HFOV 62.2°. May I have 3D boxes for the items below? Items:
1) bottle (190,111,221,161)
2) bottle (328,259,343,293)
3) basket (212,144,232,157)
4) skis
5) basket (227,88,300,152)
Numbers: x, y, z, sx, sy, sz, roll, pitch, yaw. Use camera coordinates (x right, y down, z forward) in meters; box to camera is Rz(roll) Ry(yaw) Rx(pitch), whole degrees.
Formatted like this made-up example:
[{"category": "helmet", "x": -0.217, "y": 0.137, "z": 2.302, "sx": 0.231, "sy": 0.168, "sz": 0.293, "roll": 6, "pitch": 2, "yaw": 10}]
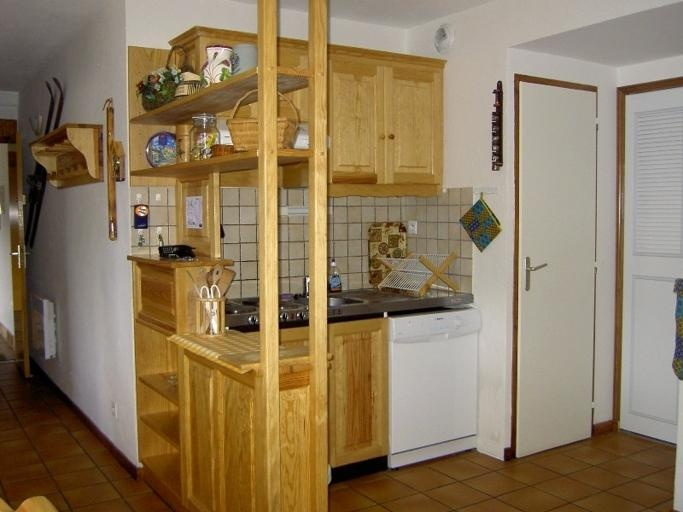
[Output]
[{"category": "bottle", "x": -0.724, "y": -0.641, "z": 3.003, "sx": 0.150, "sy": 0.254, "sz": 0.255, "roll": -2, "pitch": 7, "yaw": -15}, {"category": "bottle", "x": -0.049, "y": 0.147, "z": 4.371, "sx": 0.103, "sy": 0.244, "sz": 0.216, "roll": -1, "pitch": 6, "yaw": 0}, {"category": "basket", "x": -0.607, "y": -0.538, "z": 2.882, "sx": 0.132, "sy": 0.057, "sz": 0.039, "roll": 3, "pitch": 7, "yaw": 27}, {"category": "skis", "x": -2.864, "y": -0.891, "z": 5.437, "sx": 0.198, "sy": 1.771, "sz": 0.102, "roll": 17, "pitch": 16, "yaw": 28}, {"category": "basket", "x": -0.408, "y": -0.723, "z": 3.080, "sx": 0.374, "sy": 0.375, "sz": 1.241, "roll": -2, "pitch": 7, "yaw": -7}]
